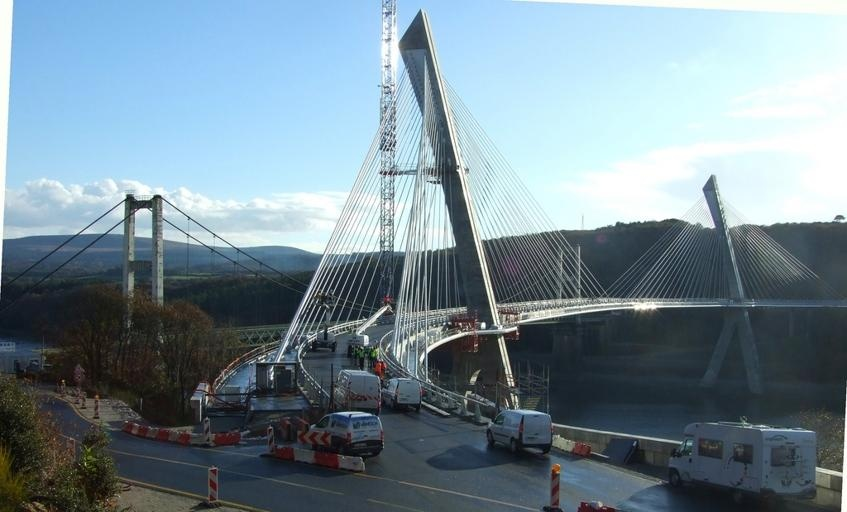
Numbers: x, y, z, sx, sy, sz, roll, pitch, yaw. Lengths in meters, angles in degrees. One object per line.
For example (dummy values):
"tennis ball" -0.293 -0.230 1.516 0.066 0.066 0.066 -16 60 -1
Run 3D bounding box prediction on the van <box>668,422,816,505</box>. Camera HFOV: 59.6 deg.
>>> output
"van" 17.964 11.666 42.168 4.112 3.356 6.626 6 -6 -41
